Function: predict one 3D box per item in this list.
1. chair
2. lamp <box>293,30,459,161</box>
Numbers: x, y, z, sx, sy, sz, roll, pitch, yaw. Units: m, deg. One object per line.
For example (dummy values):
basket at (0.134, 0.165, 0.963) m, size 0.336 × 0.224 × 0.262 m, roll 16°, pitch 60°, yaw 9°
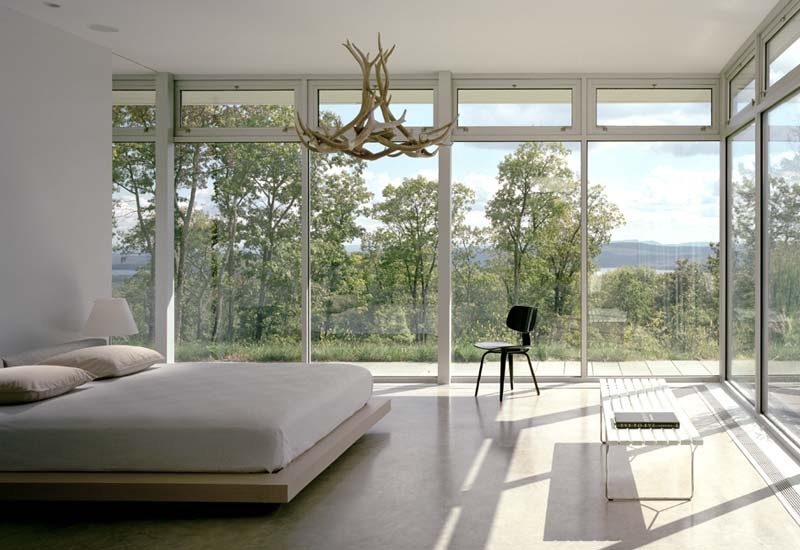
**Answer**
chair at (1.281, 0.902, 7.733) m, size 0.715 × 1.016 × 0.712 m, roll 0°, pitch -1°, yaw -31°
lamp at (-0.225, -2.126, 7.456) m, size 1.668 × 1.166 × 1.627 m, roll -2°, pitch 6°, yaw -27°
